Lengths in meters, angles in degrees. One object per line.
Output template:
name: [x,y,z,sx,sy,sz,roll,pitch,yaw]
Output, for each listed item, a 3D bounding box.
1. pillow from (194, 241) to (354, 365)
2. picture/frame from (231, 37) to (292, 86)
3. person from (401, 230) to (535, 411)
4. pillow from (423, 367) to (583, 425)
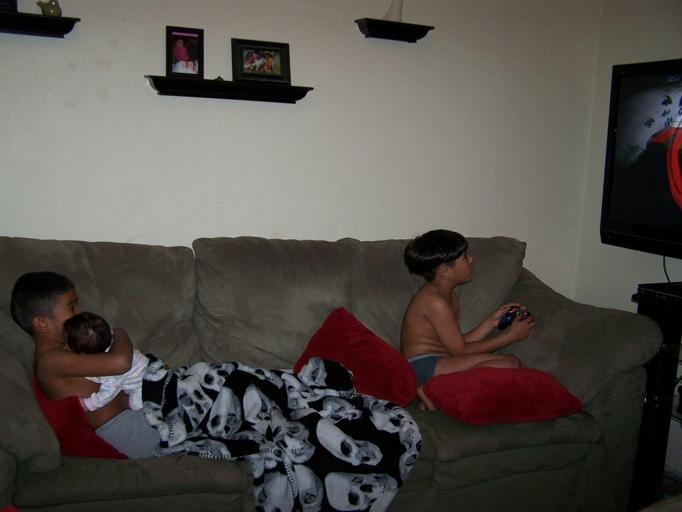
pillow: [-0.342,0.187,2.456,0.611,0.579,0.180,-1,-4,-14]
picture/frame: [-0.384,-0.906,2.599,0.256,0.190,0.019,0,-8,-19]
person: [0.573,0.323,2.512,0.542,0.845,0.309,3,8,10]
pillow: [0.621,0.529,2.127,0.346,0.108,0.265,-1,6,-11]
